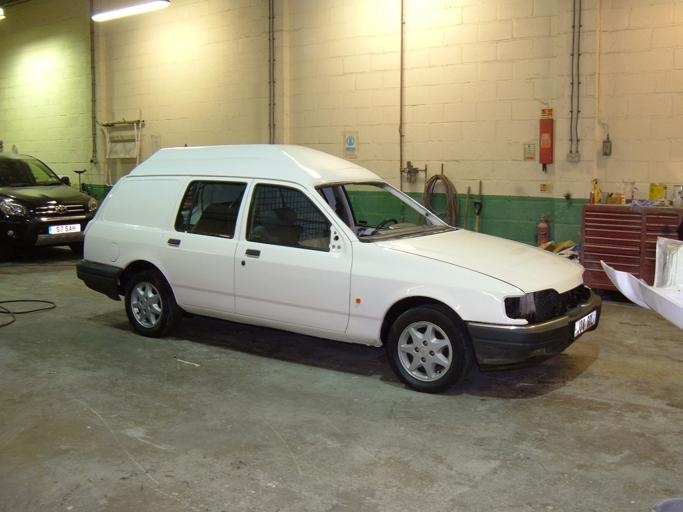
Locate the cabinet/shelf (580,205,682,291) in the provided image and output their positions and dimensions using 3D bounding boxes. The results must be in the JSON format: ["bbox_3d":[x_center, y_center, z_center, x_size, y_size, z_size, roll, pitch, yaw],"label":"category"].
[{"bbox_3d":[3.561,-0.166,5.800,1.506,1.056,0.500,3,6,25],"label":"cabinet/shelf"}]

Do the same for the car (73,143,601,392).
[{"bbox_3d":[-0.392,-0.139,5.649,6.034,1.969,2.400,5,10,27],"label":"car"}]

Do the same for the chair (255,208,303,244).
[{"bbox_3d":[-0.642,-0.272,4.835,0.446,0.366,0.425,6,2,2],"label":"chair"}]
